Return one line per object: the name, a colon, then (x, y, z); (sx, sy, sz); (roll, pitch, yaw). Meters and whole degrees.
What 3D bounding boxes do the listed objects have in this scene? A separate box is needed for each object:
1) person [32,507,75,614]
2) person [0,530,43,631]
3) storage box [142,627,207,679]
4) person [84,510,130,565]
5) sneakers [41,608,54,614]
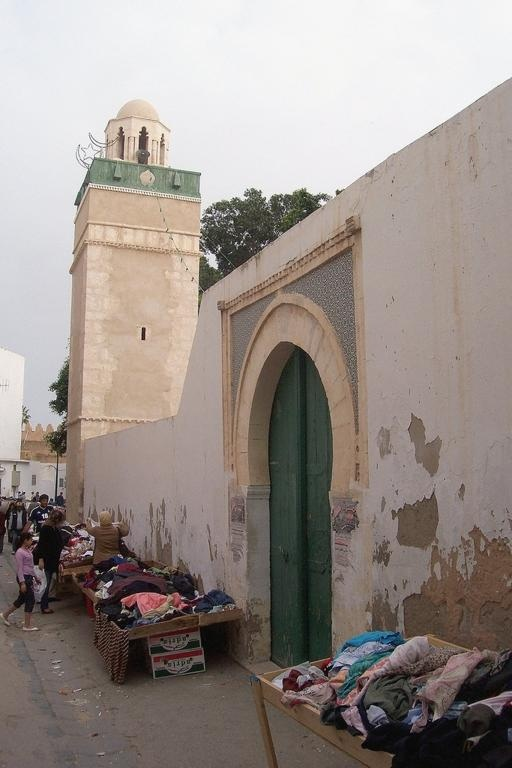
person: (-2.686, 2.367, 8.989); (0.388, 1.330, 0.452); (-4, -15, 23)
person: (-2.824, 2.314, 8.076); (0.444, 1.142, 1.537); (1, -8, -17)
storage box: (-0.713, 2.391, 5.999); (0.385, 0.451, 0.324); (-12, 24, -20)
person: (-1.990, 2.203, 9.028); (0.455, 1.090, 0.330); (-1, 19, -18)
sneakers: (-2.760, 2.977, 8.933); (0.120, 0.096, 0.070); (-4, -7, 20)
